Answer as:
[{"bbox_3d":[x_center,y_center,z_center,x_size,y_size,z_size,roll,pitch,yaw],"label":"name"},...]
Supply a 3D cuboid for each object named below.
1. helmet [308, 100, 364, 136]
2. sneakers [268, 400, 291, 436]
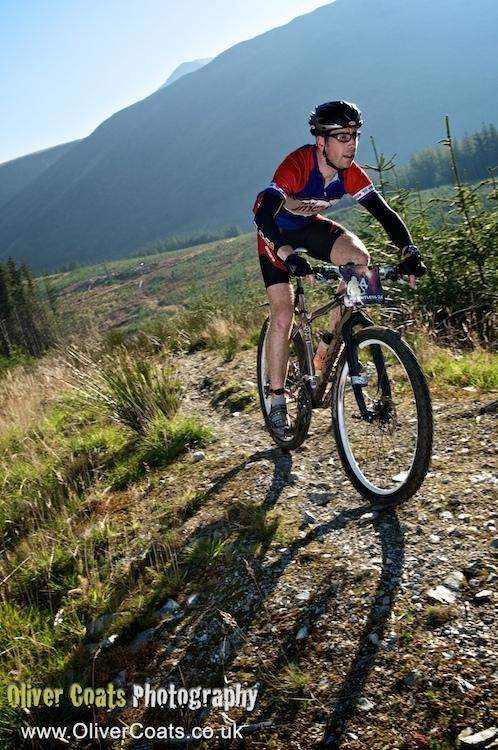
[{"bbox_3d":[0.550,-1.668,3.768,0.272,0.223,0.372,-26,25,-27],"label":"helmet"},{"bbox_3d":[0.240,0.362,4.525,0.112,0.145,0.336,-4,10,-5],"label":"sneakers"}]
